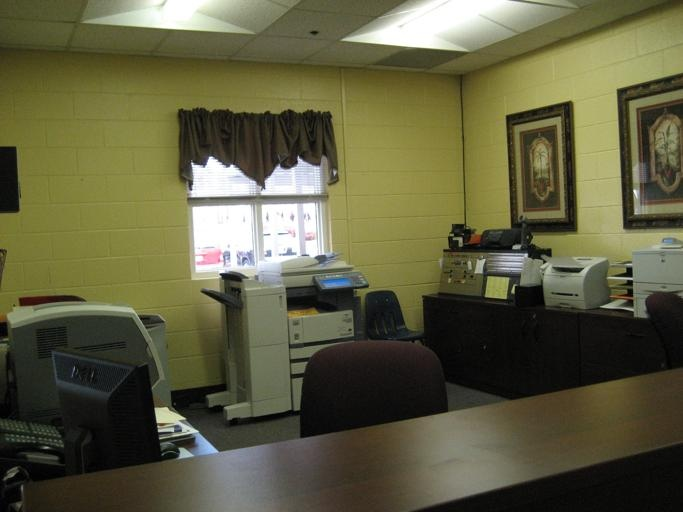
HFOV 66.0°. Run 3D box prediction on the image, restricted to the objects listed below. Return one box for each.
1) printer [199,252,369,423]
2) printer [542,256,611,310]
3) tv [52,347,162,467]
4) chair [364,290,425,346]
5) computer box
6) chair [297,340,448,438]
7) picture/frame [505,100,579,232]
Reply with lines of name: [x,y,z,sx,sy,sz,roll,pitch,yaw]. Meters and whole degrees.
printer: [-0.784,0.628,4.937,1.632,1.369,1.096,-4,7,-22]
printer: [1.886,0.218,4.329,0.434,0.446,0.453,2,-1,-36]
tv: [-0.669,0.430,1.452,0.376,0.322,0.134,4,13,39]
chair: [0.473,0.610,5.271,0.536,0.471,0.527,2,-5,-31]
computer box: [-1.034,0.327,2.116,0.578,0.415,0.555,0,1,-26]
chair: [0.111,0.481,2.204,0.417,0.572,0.422,-2,-5,-4]
picture/frame: [1.949,-0.830,5.107,0.102,1.183,0.731,-7,7,-32]
